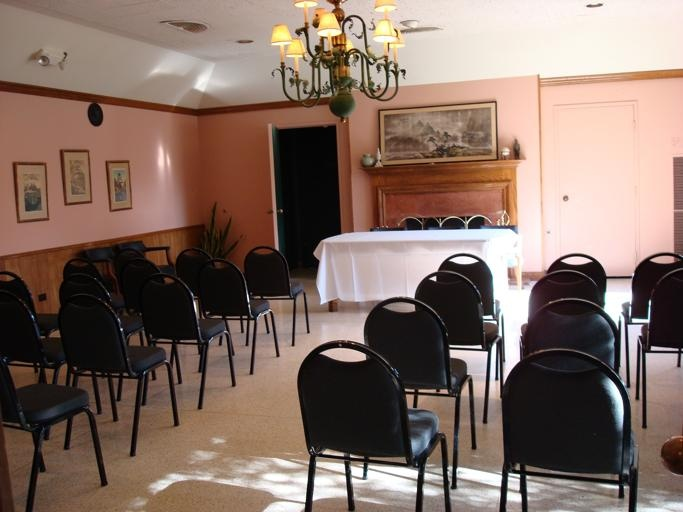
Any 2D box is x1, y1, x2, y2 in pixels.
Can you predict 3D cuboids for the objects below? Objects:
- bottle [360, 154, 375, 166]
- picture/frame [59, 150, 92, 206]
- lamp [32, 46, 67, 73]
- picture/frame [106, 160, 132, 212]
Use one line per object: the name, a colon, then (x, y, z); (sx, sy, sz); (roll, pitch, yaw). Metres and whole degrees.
bottle: (0.408, -1.504, 8.757); (0.194, 0.171, 0.199); (-2, 7, -25)
picture/frame: (-3.550, -1.047, 7.343); (0.061, 0.741, 0.478); (0, 5, 17)
lamp: (-3.489, -2.394, 6.638); (0.279, 0.251, 0.511); (-1, 4, 11)
picture/frame: (-3.259, -1.022, 8.056); (0.029, 0.752, 0.460); (0, 5, 21)
